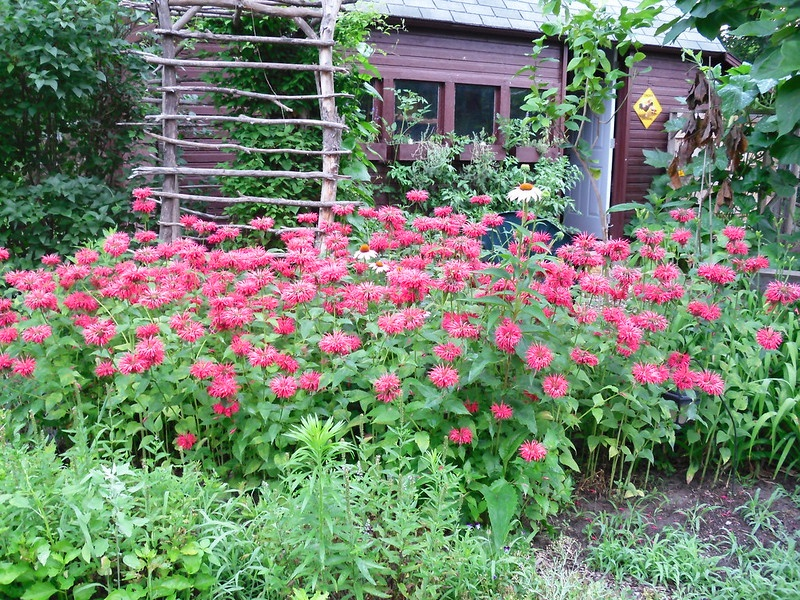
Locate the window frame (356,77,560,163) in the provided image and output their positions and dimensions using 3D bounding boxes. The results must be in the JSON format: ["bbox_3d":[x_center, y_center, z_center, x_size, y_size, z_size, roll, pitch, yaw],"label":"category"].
[{"bbox_3d":[0.619,-2.216,8.675,2.361,1.007,0.472,-4,14,-28],"label":"window frame"}]

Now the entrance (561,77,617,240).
[{"bbox_3d":[2.858,-1.896,9.902,0.200,1.989,0.725,9,5,-6],"label":"entrance"}]
